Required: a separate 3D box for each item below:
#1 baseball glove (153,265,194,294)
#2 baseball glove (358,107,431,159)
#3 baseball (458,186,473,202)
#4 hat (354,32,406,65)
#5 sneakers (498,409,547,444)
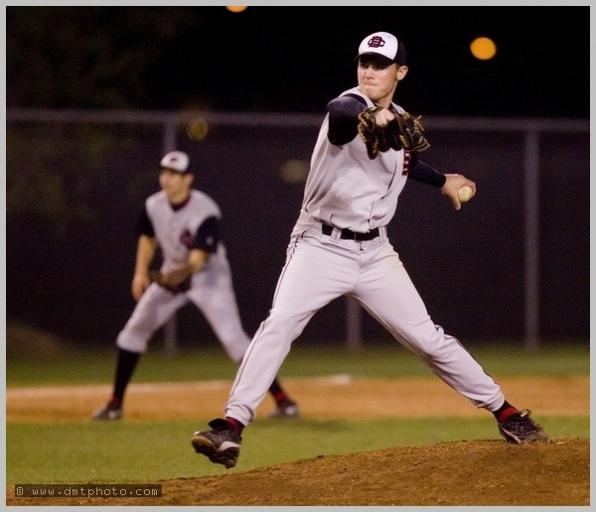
[{"bbox_3d":[-1.007,0.184,7.779,0.237,0.079,0.171,29,-18,-36],"label":"baseball glove"},{"bbox_3d":[0.577,-0.770,5.827,0.348,0.330,0.121,3,38,16],"label":"baseball glove"},{"bbox_3d":[1.177,-0.431,6.804,0.090,0.109,0.042,4,-7,13],"label":"baseball"},{"bbox_3d":[0.568,-1.330,6.342,0.201,0.152,0.300,23,10,37],"label":"hat"},{"bbox_3d":[1.502,1.144,6.483,0.326,0.161,0.170,0,3,13],"label":"sneakers"}]
